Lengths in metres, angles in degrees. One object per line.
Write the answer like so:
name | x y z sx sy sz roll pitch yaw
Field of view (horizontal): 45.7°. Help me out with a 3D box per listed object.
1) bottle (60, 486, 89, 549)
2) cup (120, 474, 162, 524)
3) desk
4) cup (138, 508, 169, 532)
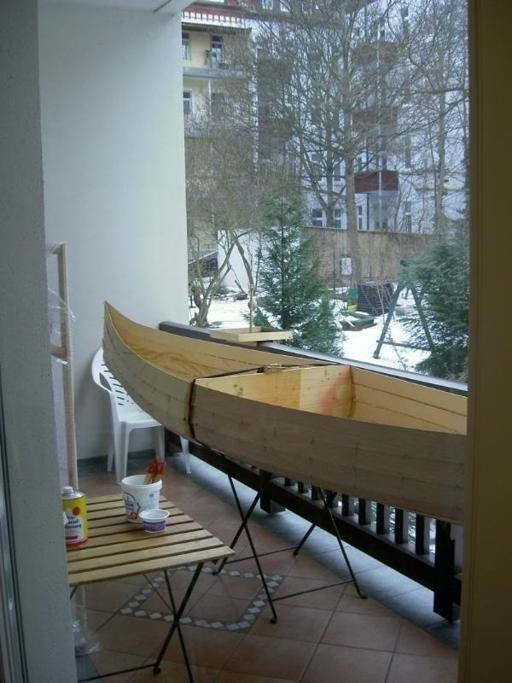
bottle | -0.494 0.464 1.666 0.067 0.153 0.209 -2 4 -17
cup | -0.331 0.468 1.812 0.115 0.115 0.127 1 0 7
desk | -0.285 0.498 1.653 0.388 0.346 0.666 -1 6 -20
cup | -0.290 0.498 1.722 0.059 0.032 0.062 1 5 0
